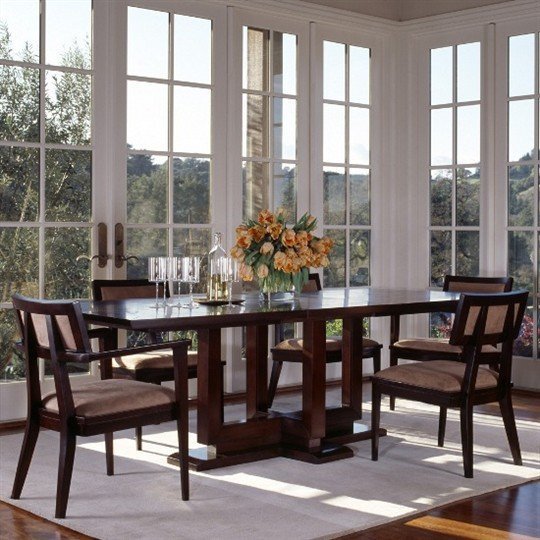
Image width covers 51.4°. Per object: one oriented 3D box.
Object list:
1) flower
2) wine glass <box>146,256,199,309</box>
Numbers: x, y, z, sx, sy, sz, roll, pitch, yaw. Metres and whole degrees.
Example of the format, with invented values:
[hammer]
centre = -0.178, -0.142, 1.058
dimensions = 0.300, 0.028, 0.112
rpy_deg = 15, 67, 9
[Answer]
[flower]
centre = 0.031, -0.092, 2.783
dimensions = 0.440, 0.368, 0.448
rpy_deg = -1, 1, 40
[wine glass]
centre = -0.415, 0.052, 2.469
dimensions = 0.267, 0.253, 0.222
rpy_deg = 0, -2, -6
